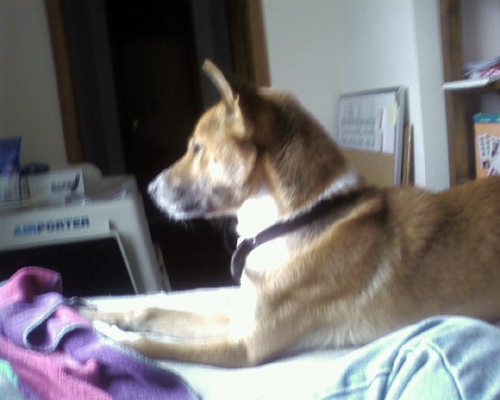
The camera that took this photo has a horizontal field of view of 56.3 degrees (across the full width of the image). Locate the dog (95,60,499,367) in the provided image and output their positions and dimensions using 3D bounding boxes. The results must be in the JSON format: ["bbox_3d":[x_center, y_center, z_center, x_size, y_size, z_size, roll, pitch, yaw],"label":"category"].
[{"bbox_3d":[-0.003,0.081,1.552,1.246,0.881,0.513,4,-2,5],"label":"dog"}]

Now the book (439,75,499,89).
[{"bbox_3d":[0.524,-0.277,1.116,0.132,0.019,0.027,-7,9,6],"label":"book"}]
